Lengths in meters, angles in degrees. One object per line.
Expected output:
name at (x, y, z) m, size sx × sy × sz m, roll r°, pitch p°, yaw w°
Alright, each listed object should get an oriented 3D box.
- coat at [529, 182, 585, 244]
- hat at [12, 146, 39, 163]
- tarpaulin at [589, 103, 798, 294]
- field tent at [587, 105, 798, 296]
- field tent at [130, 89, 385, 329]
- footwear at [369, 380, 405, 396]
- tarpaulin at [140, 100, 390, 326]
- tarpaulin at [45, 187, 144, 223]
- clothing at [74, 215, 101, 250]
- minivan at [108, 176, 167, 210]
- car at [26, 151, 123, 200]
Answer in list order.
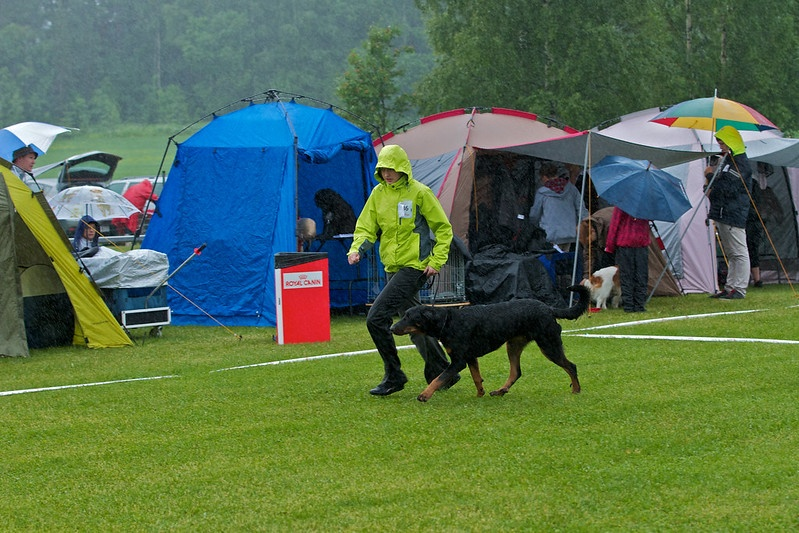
coat at (3.899, -1.336, 36.757) m, size 1.851 × 1.507 × 0.903 m, roll -4°, pitch -1°, yaw -8°
hat at (-8.734, -2.661, 34.221) m, size 0.412 × 0.234 × 0.477 m, roll -18°, pitch 1°, yaw -36°
tarpaulin at (7.660, -1.838, 38.498) m, size 5.191 × 3.583 × 5.355 m, roll 3°, pitch 8°, yaw 44°
field tent at (7.698, -1.761, 38.435) m, size 5.376 × 3.530 × 5.168 m, roll -7°, pitch 7°, yaw -40°
field tent at (-3.226, -1.621, 37.123) m, size 5.969 × 5.263 × 6.044 m, roll 2°, pitch 5°, yaw 33°
footwear at (-0.240, 2.539, 30.750) m, size 0.805 × 0.337 × 0.277 m, roll 0°, pitch 1°, yaw -10°
tarpaulin at (-2.517, -1.869, 36.801) m, size 6.343 × 5.103 × 6.965 m, roll 2°, pitch 4°, yaw 33°
tarpaulin at (-8.499, -1.833, 39.963) m, size 2.536 × 0.724 × 2.613 m, roll -11°, pitch -9°, yaw 41°
clothing at (-7.553, -0.808, 35.471) m, size 0.781 × 0.843 × 0.559 m, roll 4°, pitch -11°, yaw -11°
minivan at (-7.464, -2.433, 43.463) m, size 1.940 × 0.835 × 0.934 m, roll 11°, pitch 25°, yaw 37°
car at (-10.955, -2.840, 48.485) m, size 1.950 × 1.273 × 3.201 m, roll 7°, pitch 28°, yaw 18°
